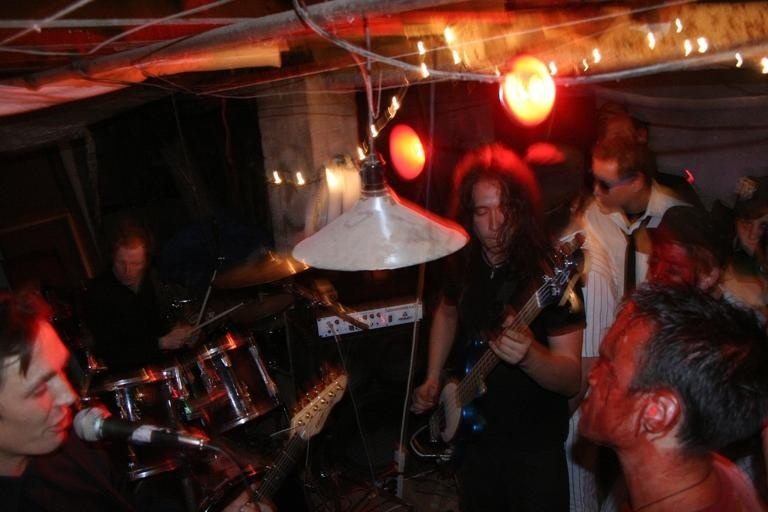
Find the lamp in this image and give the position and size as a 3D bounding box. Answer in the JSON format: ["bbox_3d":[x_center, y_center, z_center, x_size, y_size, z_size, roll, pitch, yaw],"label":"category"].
[{"bbox_3d":[-0.079,-0.371,3.090,0.954,0.845,0.407,-7,14,7],"label":"lamp"}]

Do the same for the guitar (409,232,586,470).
[{"bbox_3d":[0.877,0.721,4.251,0.565,1.439,1.460,49,21,28],"label":"guitar"}]

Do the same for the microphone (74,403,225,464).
[{"bbox_3d":[-1.283,0.970,3.155,0.881,0.285,0.161,-4,15,19],"label":"microphone"}]

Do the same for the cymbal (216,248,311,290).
[{"bbox_3d":[-1.069,0.133,5.033,0.538,0.122,0.523,-11,8,-24],"label":"cymbal"}]
